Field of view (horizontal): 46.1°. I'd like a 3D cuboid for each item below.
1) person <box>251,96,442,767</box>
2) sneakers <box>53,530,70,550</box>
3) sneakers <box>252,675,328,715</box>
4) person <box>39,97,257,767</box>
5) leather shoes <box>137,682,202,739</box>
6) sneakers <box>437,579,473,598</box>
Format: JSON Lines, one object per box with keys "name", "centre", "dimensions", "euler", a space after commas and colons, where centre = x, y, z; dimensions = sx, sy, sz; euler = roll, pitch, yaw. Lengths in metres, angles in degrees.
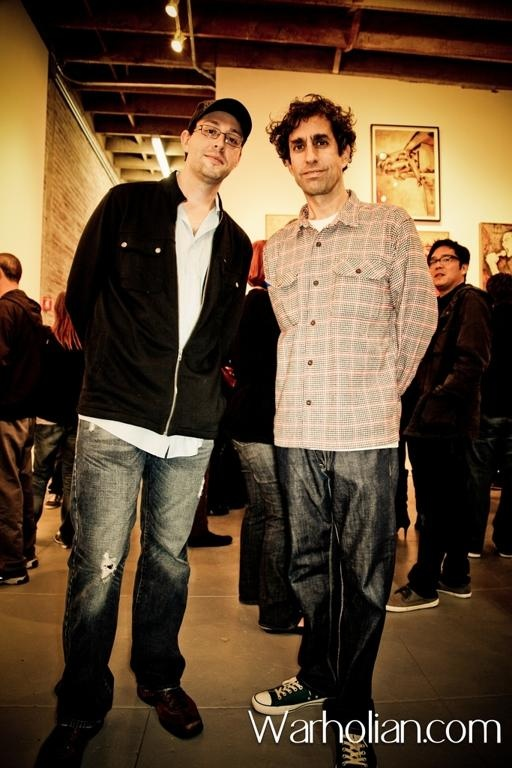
{"name": "person", "centre": [0.203, 0.186, 1.755], "dimensions": [0.504, 1.778, 0.358], "euler": [1, 0, 39]}
{"name": "sneakers", "centre": [-1.110, 0.895, 3.462], "dimensions": [0.081, 0.100, 0.236], "euler": [3, -5, -11]}
{"name": "sneakers", "centre": [0.084, 0.923, 1.765], "dimensions": [0.236, 0.090, 0.086], "euler": [8, 6, -18]}
{"name": "person", "centre": [-0.296, 0.045, 1.710], "dimensions": [0.614, 1.851, 0.313], "euler": [1, 0, -24]}
{"name": "leather shoes", "centre": [-0.234, 0.917, 1.694], "dimensions": [0.078, 0.075, 0.192], "euler": [1, 0, -37]}
{"name": "sneakers", "centre": [0.919, 0.953, 2.823], "dimensions": [0.072, 0.079, 0.199], "euler": [3, -2, -22]}
